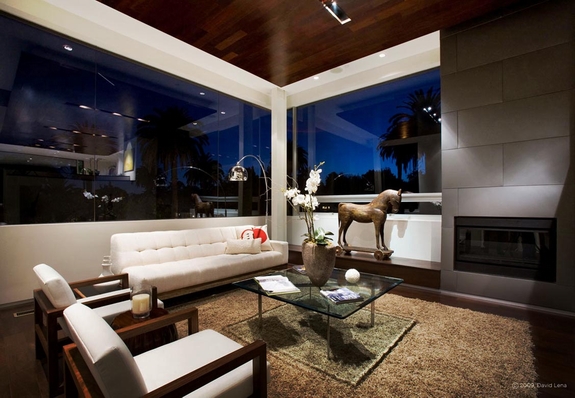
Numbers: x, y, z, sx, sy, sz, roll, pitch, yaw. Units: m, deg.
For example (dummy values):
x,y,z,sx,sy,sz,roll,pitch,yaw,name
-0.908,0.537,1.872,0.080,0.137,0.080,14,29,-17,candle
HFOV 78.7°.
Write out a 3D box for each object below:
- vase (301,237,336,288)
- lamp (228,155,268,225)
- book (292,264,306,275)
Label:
x,y,z,sx,sy,sz,roll,pitch,yaw,name
0.392,0.836,4.426,0.447,0.537,0.462,0,1,-26,vase
-0.792,-0.175,6.935,0.697,1.479,1.653,-1,1,3,lamp
0.187,1.005,5.017,0.185,0.050,0.197,0,1,-37,book
